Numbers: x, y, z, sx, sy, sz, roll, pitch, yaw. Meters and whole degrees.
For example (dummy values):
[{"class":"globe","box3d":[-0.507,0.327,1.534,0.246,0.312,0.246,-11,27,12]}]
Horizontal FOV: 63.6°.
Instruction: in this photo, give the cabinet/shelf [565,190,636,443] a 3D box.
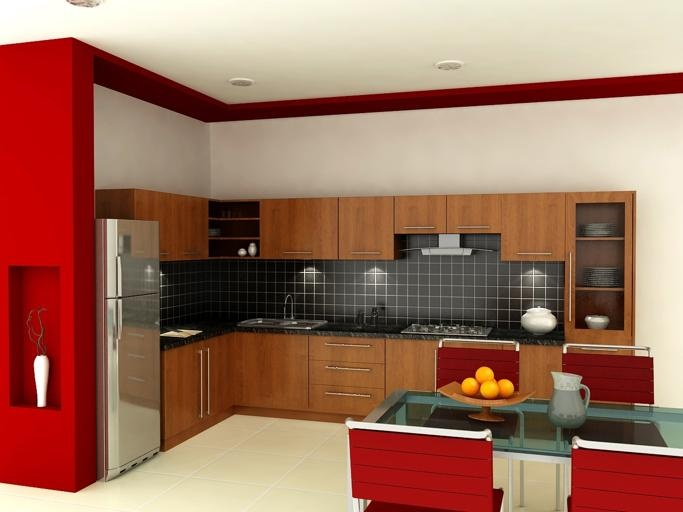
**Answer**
[{"class":"cabinet/shelf","box3d":[2.379,0.326,5.099,0.590,1.793,0.254,0,8,24]}]

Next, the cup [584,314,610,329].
[{"class":"cup","box3d":[2.366,0.605,5.142,0.151,0.091,0.143,0,2,0]}]

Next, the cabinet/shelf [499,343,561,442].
[{"class":"cabinet/shelf","box3d":[1.802,1.146,5.035,0.660,1.105,0.651,0,0,18]}]

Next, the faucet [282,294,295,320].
[{"class":"faucet","box3d":[-0.594,0.568,6.227,0.136,0.273,0.046,1,6,23]}]

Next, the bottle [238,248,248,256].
[{"class":"bottle","box3d":[-1.086,-0.037,6.078,0.090,0.076,0.086,2,1,3]}]

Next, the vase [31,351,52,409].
[{"class":"vase","box3d":[-2.331,0.964,4.300,0.112,0.412,0.195,-4,6,-29]}]

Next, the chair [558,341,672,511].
[{"class":"chair","box3d":[1.940,1.041,3.958,0.837,0.556,0.450,0,-1,22]}]

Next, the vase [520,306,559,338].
[{"class":"vase","box3d":[1.875,0.620,5.225,0.287,0.205,0.273,0,-4,3]}]

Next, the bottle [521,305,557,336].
[{"class":"bottle","box3d":[1.888,0.624,5.274,0.273,0.244,0.230,-2,5,-19]}]

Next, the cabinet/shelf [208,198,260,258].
[{"class":"cabinet/shelf","box3d":[-1.193,-0.304,6.165,0.723,0.732,0.226,-1,-3,8]}]

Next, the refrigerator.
[{"class":"refrigerator","box3d":[-1.743,0.728,4.484,0.216,2.037,0.540,1,6,21]}]

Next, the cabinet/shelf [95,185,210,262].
[{"class":"cabinet/shelf","box3d":[-1.777,-0.271,5.401,0.479,0.659,1.463,3,-2,16]}]

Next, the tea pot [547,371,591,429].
[{"class":"tea pot","box3d":[1.230,0.812,3.175,0.317,0.358,0.278,0,-5,12]}]

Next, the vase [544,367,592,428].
[{"class":"vase","box3d":[1.245,0.799,3.176,0.318,0.361,0.282,0,-5,15]}]

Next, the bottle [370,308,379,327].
[{"class":"bottle","box3d":[0.360,0.640,5.903,0.079,0.169,0.145,0,5,5]}]

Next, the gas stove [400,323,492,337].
[{"class":"gas stove","box3d":[1.060,0.744,5.498,0.820,0.033,0.567,1,5,17]}]

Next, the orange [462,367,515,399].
[{"class":"orange","box3d":[0.875,0.747,3.232,0.226,0.090,0.213,2,-5,-20]}]

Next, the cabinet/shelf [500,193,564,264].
[{"class":"cabinet/shelf","box3d":[1.811,-0.306,5.352,0.572,0.566,0.337,1,-4,4]}]

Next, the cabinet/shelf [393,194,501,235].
[{"class":"cabinet/shelf","box3d":[0.996,-0.409,5.540,1.195,0.379,0.351,-2,5,-17]}]

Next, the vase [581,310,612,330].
[{"class":"vase","box3d":[2.371,0.605,5.160,0.165,0.102,0.156,0,2,-4]}]

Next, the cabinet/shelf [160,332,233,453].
[{"class":"cabinet/shelf","box3d":[-1.382,1.281,5.152,0.441,0.864,1.118,-1,-1,18]}]

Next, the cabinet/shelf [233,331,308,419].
[{"class":"cabinet/shelf","box3d":[-0.704,1.202,5.705,1.015,0.848,0.500,0,-2,13]}]

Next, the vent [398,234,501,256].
[{"class":"vent","box3d":[1.086,-0.105,5.609,0.999,0.244,0.320,1,5,15]}]
